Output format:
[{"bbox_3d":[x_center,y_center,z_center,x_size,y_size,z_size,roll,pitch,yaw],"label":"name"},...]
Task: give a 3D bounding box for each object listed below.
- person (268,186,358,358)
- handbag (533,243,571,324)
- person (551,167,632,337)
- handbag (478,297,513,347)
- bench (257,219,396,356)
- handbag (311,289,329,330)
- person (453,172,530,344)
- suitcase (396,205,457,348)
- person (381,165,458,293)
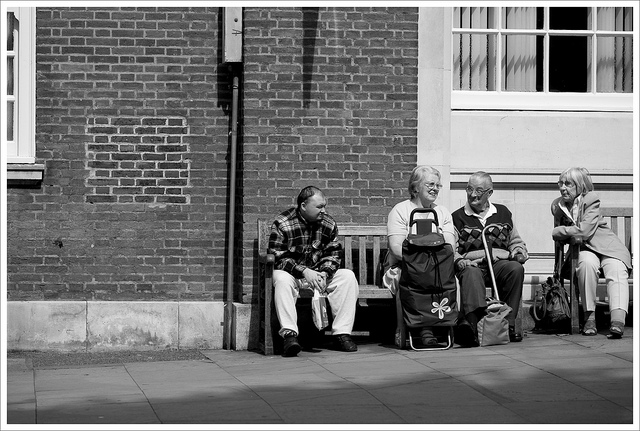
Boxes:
[{"bbox_3d":[-0.052,0.655,13.805,0.974,1.908,0.814,-3,14,-8],"label":"person"},{"bbox_3d":[2.770,0.834,14.503,0.478,0.863,0.521,6,-12,-8],"label":"handbag"},{"bbox_3d":[3.284,0.391,14.411,1.164,1.814,0.813,3,14,6],"label":"person"},{"bbox_3d":[1.988,1.204,13.863,0.360,0.535,0.256,0,14,5],"label":"handbag"},{"bbox_3d":[0.185,0.864,14.490,1.729,1.500,1.826,-2,13,-4],"label":"bench"},{"bbox_3d":[0.012,1.056,13.709,0.156,0.453,0.224,-2,14,-4],"label":"handbag"},{"bbox_3d":[2.026,0.434,14.215,1.041,1.798,0.971,0,-1,-3],"label":"person"},{"bbox_3d":[1.256,0.710,13.863,0.815,1.520,0.610,-1,1,-9],"label":"suitcase"},{"bbox_3d":[1.237,0.147,14.029,0.917,1.307,1.019,4,1,-13],"label":"person"}]
